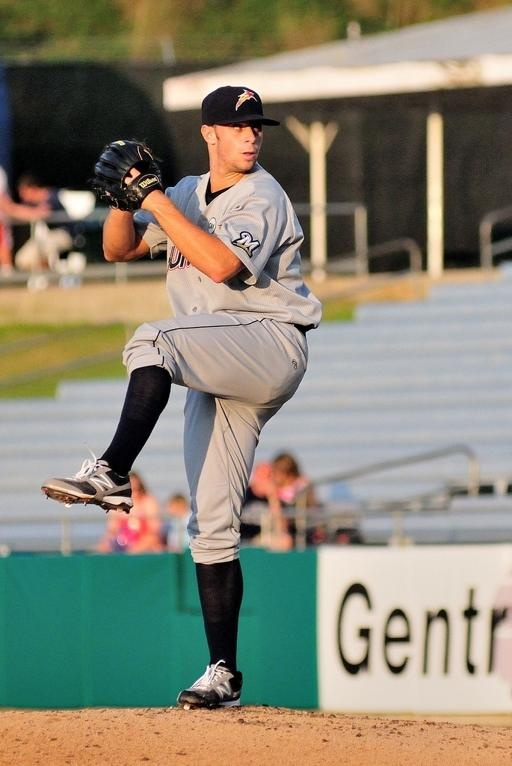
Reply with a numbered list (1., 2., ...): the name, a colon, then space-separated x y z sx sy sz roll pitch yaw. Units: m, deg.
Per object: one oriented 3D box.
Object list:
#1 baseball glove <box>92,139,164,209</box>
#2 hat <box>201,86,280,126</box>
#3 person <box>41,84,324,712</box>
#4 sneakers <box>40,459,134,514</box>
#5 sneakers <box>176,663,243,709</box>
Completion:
1. baseball glove: -0.474 -0.784 6.098 0.214 0.212 0.284 12 0 4
2. hat: -0.080 -1.072 6.167 0.229 0.126 0.159 1 5 38
3. person: -0.207 0.085 6.041 0.529 2.372 1.029 2 11 36
4. sneakers: -0.605 0.382 5.715 0.308 0.200 0.182 -7 9 -12
5. sneakers: -0.176 1.167 6.165 0.113 0.151 0.316 5 -2 35
